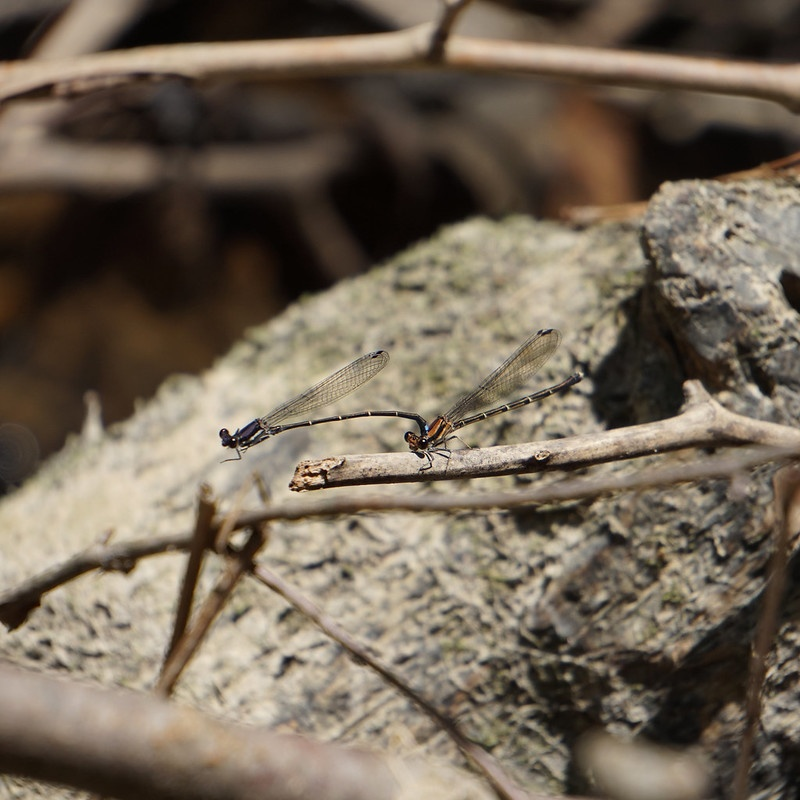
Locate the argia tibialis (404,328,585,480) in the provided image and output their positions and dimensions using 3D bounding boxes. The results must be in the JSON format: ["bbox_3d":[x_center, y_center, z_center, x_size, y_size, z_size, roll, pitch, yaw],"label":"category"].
[{"bbox_3d":[0.142,0.004,2.310,0.364,0.181,0.163,-13,8,-1],"label":"argia tibialis"}]

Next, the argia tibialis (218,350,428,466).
[{"bbox_3d":[-0.063,0.002,2.473,0.434,0.127,0.146,-12,26,4],"label":"argia tibialis"}]
